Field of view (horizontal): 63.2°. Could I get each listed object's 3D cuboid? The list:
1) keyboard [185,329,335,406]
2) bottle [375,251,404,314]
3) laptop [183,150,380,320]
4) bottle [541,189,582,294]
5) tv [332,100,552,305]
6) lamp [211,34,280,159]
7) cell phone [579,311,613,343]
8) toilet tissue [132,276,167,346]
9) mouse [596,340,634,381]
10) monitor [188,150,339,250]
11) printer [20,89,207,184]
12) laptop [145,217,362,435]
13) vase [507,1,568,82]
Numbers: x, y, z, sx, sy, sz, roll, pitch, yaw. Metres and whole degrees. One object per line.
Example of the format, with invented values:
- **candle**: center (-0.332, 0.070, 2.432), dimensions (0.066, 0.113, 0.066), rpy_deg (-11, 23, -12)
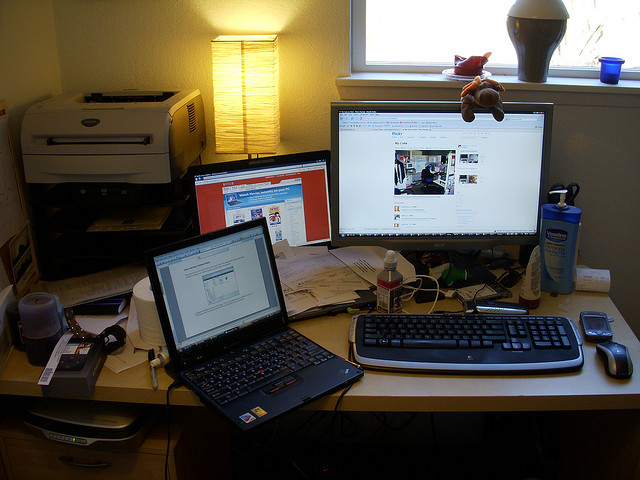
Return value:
- **keyboard**: center (-0.153, 0.329, 1.360), dimensions (0.359, 0.041, 0.146), rpy_deg (-14, 24, -28)
- **bottle**: center (0.209, 0.125, 1.558), dimensions (0.082, 0.191, 0.082), rpy_deg (-1, 16, 0)
- **laptop**: center (-0.105, -0.009, 1.590), dimensions (0.506, 0.352, 0.429), rpy_deg (-10, 27, -18)
- **bottle**: center (0.737, 0.036, 1.619), dimensions (0.107, 0.262, 0.067), rpy_deg (6, 22, 20)
- **tv**: center (0.380, -0.130, 1.627), dimensions (0.593, 0.529, 0.273), rpy_deg (-1, 23, 2)
- **lamp**: center (-0.261, -0.509, 1.851), dimensions (0.239, 0.399, 0.237), rpy_deg (-4, 21, -10)
- **cell phone**: center (0.788, 0.250, 1.486), dimensions (0.070, 0.033, 0.123), rpy_deg (1, 23, 18)
- **toilet tissue**: center (-0.464, 0.211, 1.467), dimensions (0.104, 0.116, 0.102), rpy_deg (-9, 13, -31)
- **mouse**: center (0.773, 0.306, 1.354), dimensions (0.058, 0.037, 0.106), rpy_deg (3, 26, 9)
- **monitor**: center (-0.192, -0.102, 1.586), dimensions (0.485, 0.320, 0.292), rpy_deg (-6, -3, 7)
- **printer**: center (-0.675, -0.356, 1.756), dimensions (0.484, 0.256, 0.388), rpy_deg (-1, 21, 2)
- **laptop**: center (-0.166, 0.190, 1.339), dimensions (0.403, 0.310, 0.440), rpy_deg (-13, 27, -37)
- **vase**: center (0.741, -0.681, 1.793), dimensions (0.189, 0.262, 0.106), rpy_deg (7, 23, 23)
